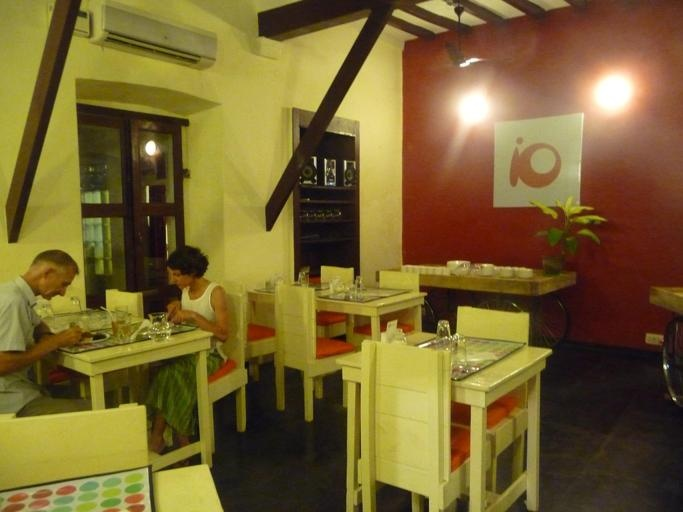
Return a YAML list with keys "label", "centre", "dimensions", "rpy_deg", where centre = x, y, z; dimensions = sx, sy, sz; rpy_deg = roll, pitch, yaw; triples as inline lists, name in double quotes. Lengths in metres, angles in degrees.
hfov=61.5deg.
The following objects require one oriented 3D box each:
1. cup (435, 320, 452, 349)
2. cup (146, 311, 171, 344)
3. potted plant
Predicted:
- label: "cup"
  centre: [0.617, 0.468, 3.442]
  dimensions: [0.082, 0.165, 0.242]
  rpy_deg: [2, 11, 10]
- label: "cup"
  centre: [-1.192, 0.465, 3.749]
  dimensions: [0.144, 0.212, 0.159]
  rpy_deg: [-5, -11, 14]
- label: "potted plant"
  centre: [2.525, -0.217, 6.546]
  dimensions: [0.739, 0.840, 0.895]
  rpy_deg: [0, 4, 13]
